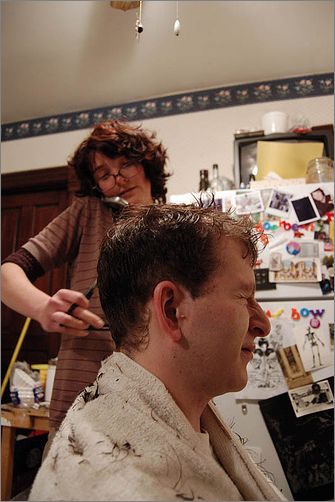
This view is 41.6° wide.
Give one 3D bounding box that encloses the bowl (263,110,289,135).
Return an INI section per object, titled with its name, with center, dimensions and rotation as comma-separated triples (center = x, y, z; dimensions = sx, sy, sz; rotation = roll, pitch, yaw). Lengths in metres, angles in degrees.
[bowl]
center = 0.557, -0.664, 2.285
dimensions = 0.128, 0.097, 0.131
rotation = 1, 1, 0
